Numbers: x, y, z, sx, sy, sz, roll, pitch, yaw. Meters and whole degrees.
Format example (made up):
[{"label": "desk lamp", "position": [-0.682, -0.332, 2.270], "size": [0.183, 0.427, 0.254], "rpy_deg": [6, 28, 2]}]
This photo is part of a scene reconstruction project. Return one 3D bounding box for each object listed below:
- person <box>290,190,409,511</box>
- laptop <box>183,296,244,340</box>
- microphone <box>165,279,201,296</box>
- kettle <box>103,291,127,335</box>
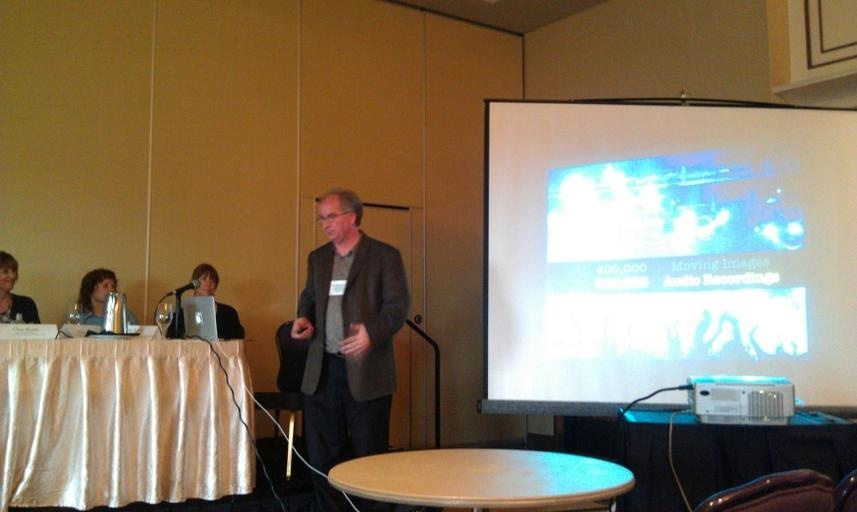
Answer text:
[{"label": "person", "position": [-0.566, 0.667, 5.097], "size": [0.832, 2.294, 0.636], "rpy_deg": [1, -1, -1]}, {"label": "laptop", "position": [-1.755, 0.518, 5.750], "size": [0.305, 0.269, 0.429], "rpy_deg": [2, -4, -43]}, {"label": "microphone", "position": [-2.148, 0.273, 6.174], "size": [0.284, 0.067, 0.077], "rpy_deg": [-20, 26, -38]}, {"label": "kettle", "position": [-2.232, 0.410, 5.062], "size": [0.162, 0.280, 0.239], "rpy_deg": [1, -1, -25]}]
